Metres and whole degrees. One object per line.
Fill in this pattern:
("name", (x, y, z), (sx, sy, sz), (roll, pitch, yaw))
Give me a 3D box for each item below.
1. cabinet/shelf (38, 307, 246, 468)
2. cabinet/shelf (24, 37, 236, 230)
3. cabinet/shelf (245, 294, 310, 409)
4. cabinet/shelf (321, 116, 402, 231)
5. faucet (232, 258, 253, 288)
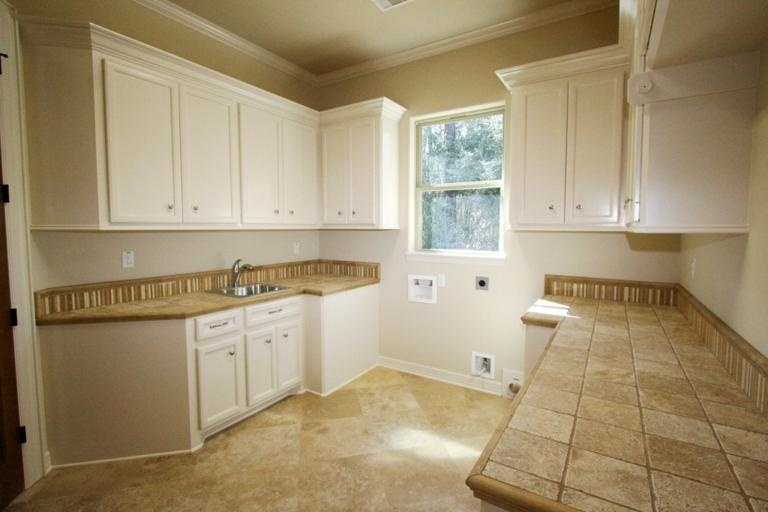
("cabinet/shelf", (-1.871, 0.931, 4.273), (1.029, 1.379, 1.013), (-1, 3, 17))
("cabinet/shelf", (-1.915, -0.903, 4.271), (0.622, 1.434, 1.688), (4, 5, 27))
("cabinet/shelf", (-0.777, 0.875, 4.653), (0.735, 0.893, 0.748), (9, -24, -40))
("cabinet/shelf", (-0.284, -0.814, 5.045), (0.735, 1.058, 0.316), (5, 12, 24))
("faucet", (-1.304, 0.139, 4.748), (0.197, 0.233, 0.220), (-5, 12, -23))
